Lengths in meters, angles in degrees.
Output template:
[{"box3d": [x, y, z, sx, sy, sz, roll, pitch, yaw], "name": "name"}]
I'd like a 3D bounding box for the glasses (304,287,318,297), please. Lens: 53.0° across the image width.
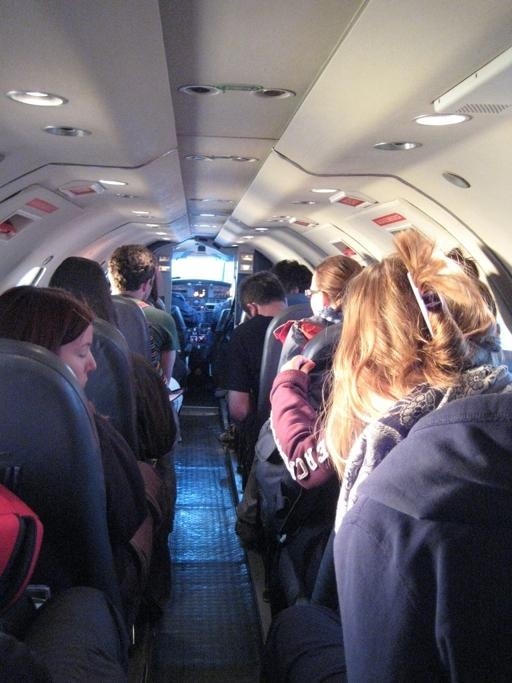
[{"box3d": [0.295, -0.262, 2.758, 0.060, 0.037, 0.079, 3, 2, 8], "name": "glasses"}]
